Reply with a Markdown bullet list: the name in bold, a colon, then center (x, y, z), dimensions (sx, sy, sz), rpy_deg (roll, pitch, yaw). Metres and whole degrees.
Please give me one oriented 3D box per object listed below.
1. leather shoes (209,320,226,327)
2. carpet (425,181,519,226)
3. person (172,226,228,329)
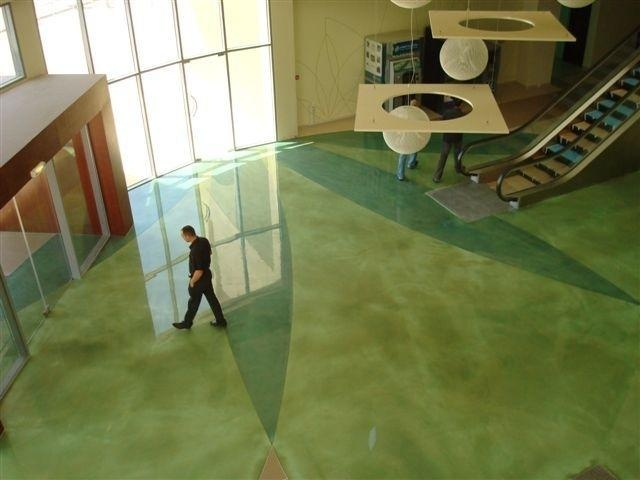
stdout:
- **leather shoes**: center (-1.654, 1.394, 6.985), dimensions (0.265, 0.113, 0.101), rpy_deg (12, 67, 8)
- **carpet**: center (3.414, -0.896, 9.752), dimensions (1.496, 0.278, 1.410), rpy_deg (-10, 30, -20)
- **person**: center (-1.948, 0.610, 6.765), dimensions (0.773, 1.691, 0.604), rpy_deg (-6, 29, -13)
